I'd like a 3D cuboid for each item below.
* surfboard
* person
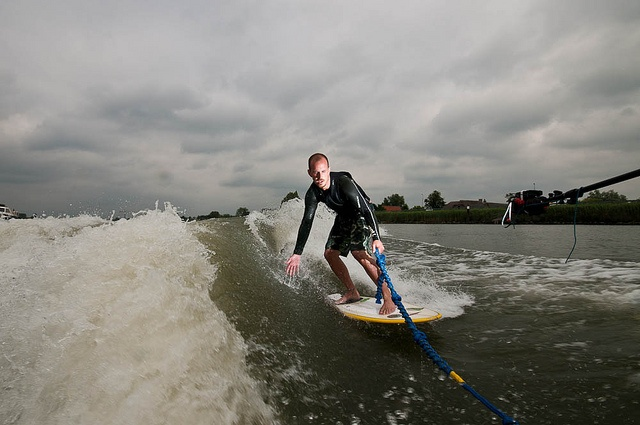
[{"bbox_3d":[0.709,1.356,5.000,0.501,0.202,1.496,-3,0,-30],"label":"surfboard"},{"bbox_3d":[0.258,0.265,5.190,1.213,2.249,0.666,-3,-1,13],"label":"person"}]
